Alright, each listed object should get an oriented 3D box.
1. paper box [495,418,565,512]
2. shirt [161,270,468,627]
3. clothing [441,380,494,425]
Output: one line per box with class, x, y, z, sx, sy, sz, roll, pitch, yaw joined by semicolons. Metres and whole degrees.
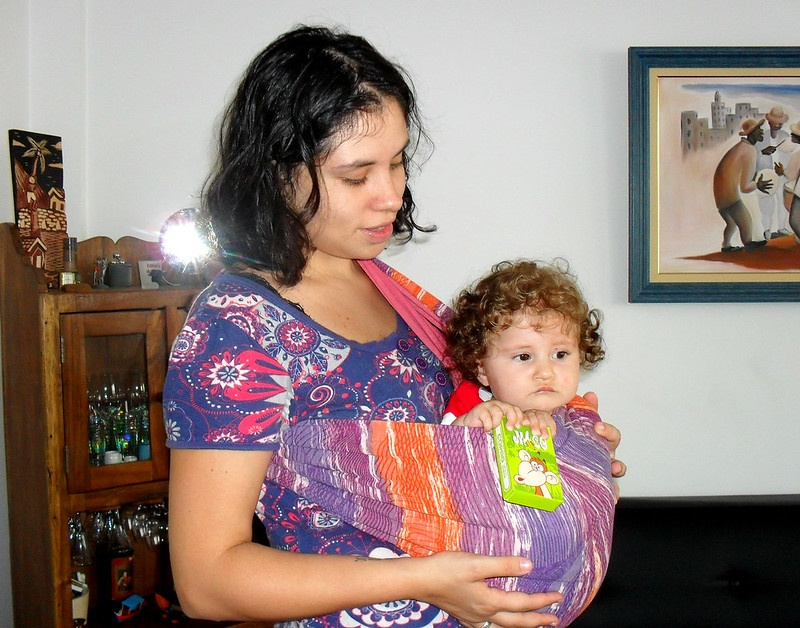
paper box;0.255;0.305;1.493;0.136;0.160;0.138;0;1;7
shirt;-0.158;0.274;1.447;0.373;0.674;0.724;-10;2;23
clothing;0.154;0.212;1.724;0.094;0.092;0.038;26;-14;37
